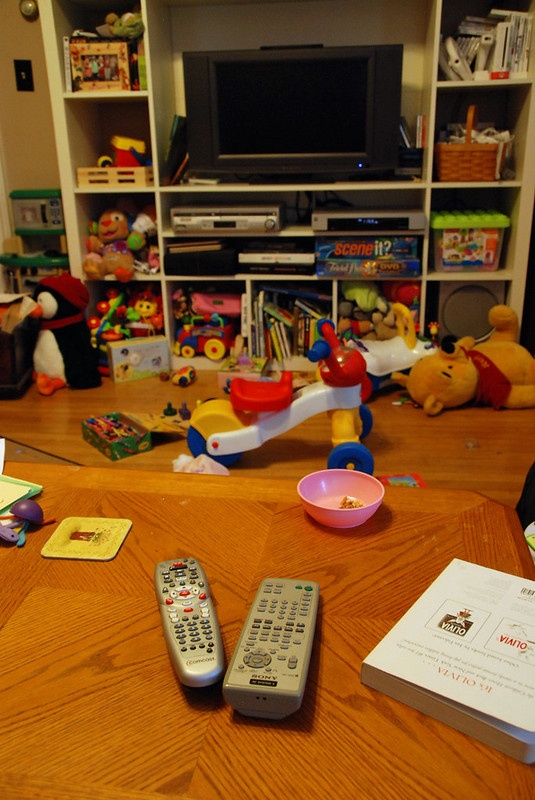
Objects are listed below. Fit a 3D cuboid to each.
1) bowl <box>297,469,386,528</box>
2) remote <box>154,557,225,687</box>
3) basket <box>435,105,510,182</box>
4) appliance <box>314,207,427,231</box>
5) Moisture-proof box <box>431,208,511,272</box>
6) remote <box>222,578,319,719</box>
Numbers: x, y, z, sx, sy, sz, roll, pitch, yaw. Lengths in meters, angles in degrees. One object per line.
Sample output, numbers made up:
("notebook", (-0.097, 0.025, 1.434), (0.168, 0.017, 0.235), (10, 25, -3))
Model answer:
("bowl", (0.088, 0.135, 0.878), (0.104, 0.041, 0.103), (-12, -19, -4))
("remote", (-0.072, 0.200, 0.563), (0.045, 0.026, 0.165), (-2, 18, -17))
("basket", (0.827, -1.037, 2.498), (0.277, 0.273, 0.208), (7, 29, 19))
("appliance", (0.418, -0.732, 2.539), (0.463, 0.091, 0.075), (-1, 15, 1))
("Moisture-proof box", (0.831, -0.675, 2.612), (0.313, 0.231, 0.233), (0, 24, 5))
("remote", (0.010, 0.215, 0.548), (0.059, 0.042, 0.182), (2, 10, 10))
